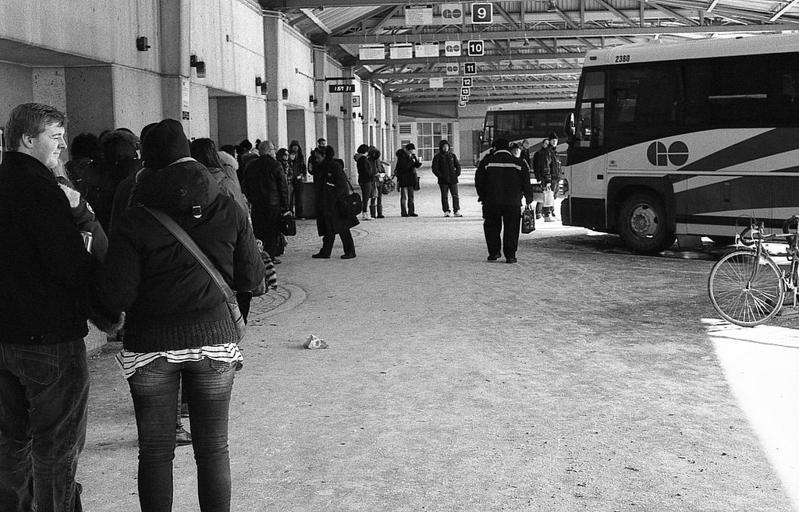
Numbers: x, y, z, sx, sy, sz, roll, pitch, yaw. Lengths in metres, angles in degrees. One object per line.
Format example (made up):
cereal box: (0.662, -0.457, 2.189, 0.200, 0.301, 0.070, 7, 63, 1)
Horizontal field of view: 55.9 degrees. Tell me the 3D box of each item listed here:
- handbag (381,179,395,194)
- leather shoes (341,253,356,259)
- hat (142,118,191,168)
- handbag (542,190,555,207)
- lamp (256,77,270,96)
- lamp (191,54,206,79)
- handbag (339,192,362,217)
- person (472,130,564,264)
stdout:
handbag: (-0.490, -3.054, 33.695, 0.494, 0.721, 0.680, -3, 42, 4)
leather shoes: (-1.010, 0.019, 14.985, 0.200, 0.091, 0.111, 3, 0, -11)
hat: (-1.534, -0.721, 4.991, 0.236, 0.332, 0.336, -5, -10, -33)
handbag: (4.281, -1.659, 21.619, 0.422, 0.629, 0.319, 1, -3, 0)
lamp: (-4.588, -5.642, 25.028, 0.300, 0.553, 1.302, -1, 11, -5)
lamp: (-5.058, -4.752, 18.911, 0.288, 0.541, 0.989, -2, 11, -9)
handbag: (-0.969, -0.986, 14.555, 0.369, 0.403, 0.201, -7, -3, -12)
person: (2.011, -1.073, 14.480, 0.880, 2.376, 1.140, -1, 9, -6)
